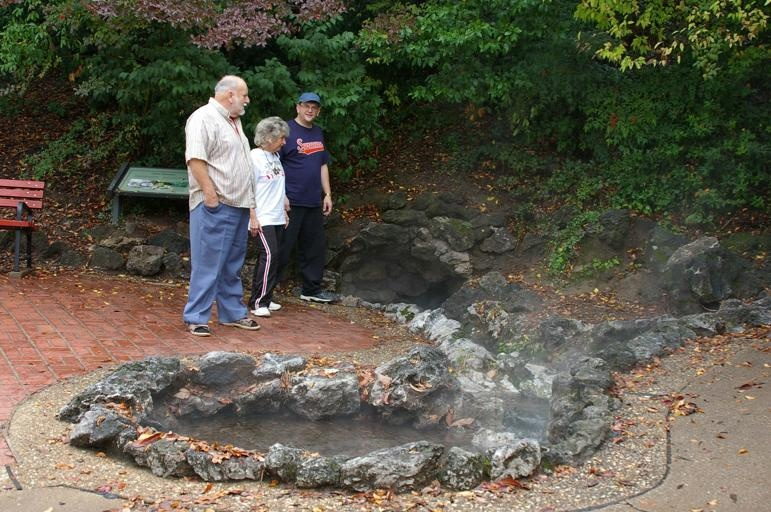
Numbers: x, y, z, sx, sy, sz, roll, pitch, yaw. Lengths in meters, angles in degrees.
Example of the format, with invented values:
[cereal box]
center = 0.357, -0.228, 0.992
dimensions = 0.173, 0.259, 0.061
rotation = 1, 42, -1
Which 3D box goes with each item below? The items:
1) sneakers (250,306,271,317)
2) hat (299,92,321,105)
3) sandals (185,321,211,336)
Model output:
[sneakers]
center = -1.522, 0.692, 9.837
dimensions = 0.226, 0.086, 0.108
rotation = -1, 0, 34
[hat]
center = -0.953, -2.044, 10.225
dimensions = 0.239, 0.146, 0.319
rotation = 8, 10, 1
[sandals]
center = -2.072, 0.814, 8.845
dimensions = 0.118, 0.112, 0.315
rotation = 0, 0, -39
